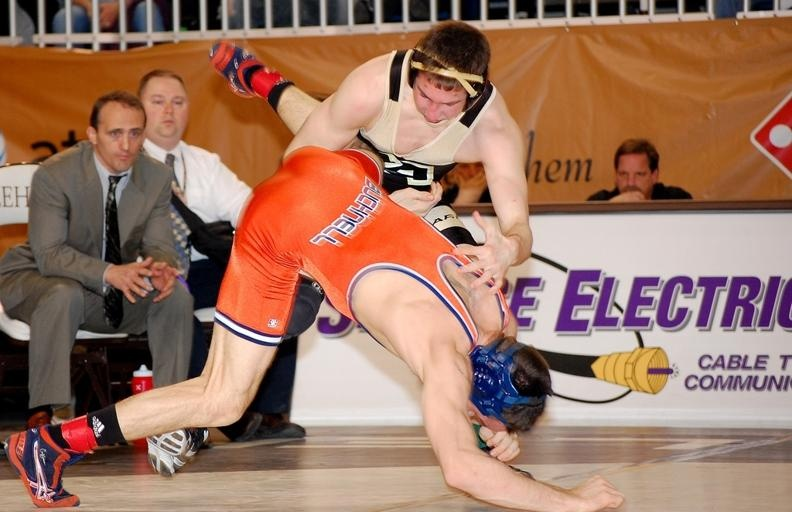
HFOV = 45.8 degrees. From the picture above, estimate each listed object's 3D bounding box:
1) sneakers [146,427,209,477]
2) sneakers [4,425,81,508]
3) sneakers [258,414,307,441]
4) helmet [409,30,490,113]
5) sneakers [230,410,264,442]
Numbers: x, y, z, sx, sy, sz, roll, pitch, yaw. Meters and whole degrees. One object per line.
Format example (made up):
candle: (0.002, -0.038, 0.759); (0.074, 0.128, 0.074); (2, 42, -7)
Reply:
sneakers: (-1.182, 1.037, 5.035); (0.171, 0.188, 0.421); (23, -12, 0)
sneakers: (-1.837, 1.095, 4.853); (0.284, 0.375, 0.134); (-20, 4, 6)
sneakers: (-0.780, 1.159, 6.280); (0.361, 0.145, 0.126); (0, 2, 2)
helmet: (0.323, -1.017, 5.045); (0.352, 0.398, 0.429); (12, 24, 4)
sneakers: (-0.989, 1.130, 6.194); (0.300, 0.100, 0.124); (-37, 15, -11)
